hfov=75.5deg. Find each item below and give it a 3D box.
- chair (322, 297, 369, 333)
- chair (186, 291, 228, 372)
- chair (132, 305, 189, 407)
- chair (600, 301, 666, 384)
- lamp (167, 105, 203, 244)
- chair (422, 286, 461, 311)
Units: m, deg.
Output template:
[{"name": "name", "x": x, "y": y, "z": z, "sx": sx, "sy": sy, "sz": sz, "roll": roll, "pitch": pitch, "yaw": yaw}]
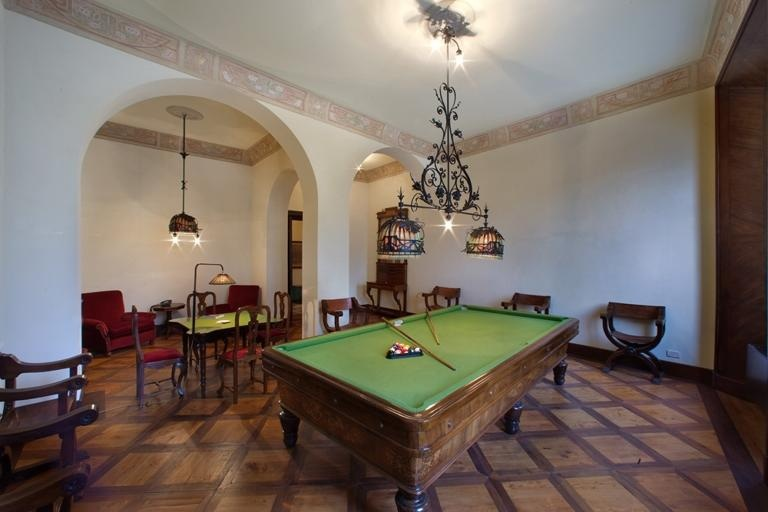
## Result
[{"name": "chair", "x": -0.768, "y": 1.143, "z": 8.380, "sx": 0.621, "sy": 0.796, "sz": 0.593, "roll": -2, "pitch": 0, "yaw": -9}, {"name": "chair", "x": -3.181, "y": 1.295, "z": 8.862, "sx": 0.703, "sy": 1.284, "sz": 0.605, "roll": -1, "pitch": 7, "yaw": -27}, {"name": "chair", "x": -3.342, "y": 1.445, "z": 7.286, "sx": 0.799, "sy": 1.342, "sz": 0.814, "roll": -4, "pitch": -2, "yaw": 37}, {"name": "chair", "x": 3.945, "y": 1.332, "z": 7.836, "sx": 0.799, "sy": 1.091, "sz": 0.571, "roll": 4, "pitch": 7, "yaw": 33}, {"name": "lamp", "x": -3.804, "y": -1.477, "z": 9.363, "sx": 0.661, "sy": 2.261, "sz": 0.648, "roll": 5, "pitch": 9, "yaw": 0}, {"name": "chair", "x": 1.198, "y": 0.850, "z": 10.193, "sx": 0.618, "sy": 0.767, "sz": 0.530, "roll": -2, "pitch": -7, "yaw": 40}]
